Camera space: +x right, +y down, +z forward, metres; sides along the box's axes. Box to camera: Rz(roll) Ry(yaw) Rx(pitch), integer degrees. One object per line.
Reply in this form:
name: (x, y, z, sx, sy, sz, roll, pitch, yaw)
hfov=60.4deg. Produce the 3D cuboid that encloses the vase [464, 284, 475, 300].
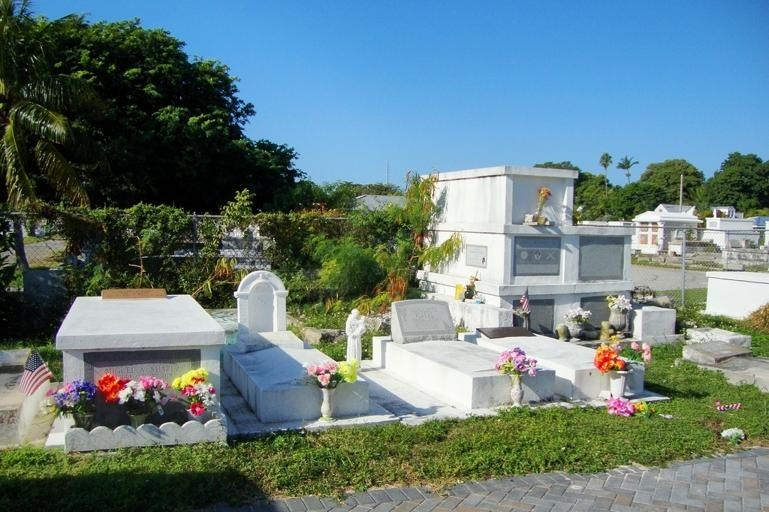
vase: (2.098, 0.890, 16.452, 0.316, 0.452, 0.319, 1, 0, 4)

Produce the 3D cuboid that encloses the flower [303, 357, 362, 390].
flower: (-0.919, 1.883, 11.102, 0.575, 0.389, 0.575, -1, -1, -16)

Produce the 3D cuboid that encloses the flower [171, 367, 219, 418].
flower: (-2.898, 2.140, 10.303, 0.723, 0.811, 0.735, 2, 12, -4)

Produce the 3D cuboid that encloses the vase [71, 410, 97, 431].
vase: (-4.578, 2.483, 10.037, 0.286, 0.230, 0.292, 2, -8, -4)

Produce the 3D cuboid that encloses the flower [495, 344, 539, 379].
flower: (2.405, 1.844, 11.849, 0.532, 0.491, 0.554, 2, 2, 22)

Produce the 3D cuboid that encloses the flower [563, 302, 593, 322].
flower: (4.596, 1.366, 15.729, 0.458, 0.339, 0.481, 4, 7, 25)

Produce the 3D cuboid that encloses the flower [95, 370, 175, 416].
flower: (-3.804, 2.082, 10.033, 0.783, 0.550, 0.759, 8, 8, -9)

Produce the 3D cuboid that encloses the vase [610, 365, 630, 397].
vase: (4.266, 2.304, 12.204, 0.456, 0.486, 0.470, 4, -3, -29)

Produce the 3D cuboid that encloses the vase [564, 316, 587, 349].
vase: (4.454, 1.752, 15.671, 0.588, 0.611, 0.459, 0, -5, -2)

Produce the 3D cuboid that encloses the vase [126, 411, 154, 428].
vase: (-3.768, 2.471, 10.116, 0.302, 0.225, 0.272, 2, -9, -9)

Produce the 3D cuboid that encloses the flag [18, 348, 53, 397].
flag: (-5.884, 1.976, 11.079, 0.646, 0.705, 0.429, -16, 8, -32)

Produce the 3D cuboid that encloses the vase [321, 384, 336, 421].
vase: (-0.951, 2.423, 10.938, 0.195, 0.560, 0.245, 1, 1, -4)

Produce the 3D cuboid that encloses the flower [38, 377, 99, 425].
flower: (-4.842, 2.228, 10.163, 0.809, 0.852, 0.720, 0, -11, -7)

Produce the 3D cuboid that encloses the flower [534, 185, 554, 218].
flower: (3.857, -1.324, 15.980, 0.606, 0.524, 0.246, 1, 1, -32)

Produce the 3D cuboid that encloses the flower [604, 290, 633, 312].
flower: (5.643, 1.122, 16.023, 0.452, 0.171, 0.464, -1, 22, 4)

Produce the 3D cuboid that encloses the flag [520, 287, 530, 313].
flag: (3.324, 1.055, 15.628, 0.220, 0.407, 0.445, 2, 1, 12)
